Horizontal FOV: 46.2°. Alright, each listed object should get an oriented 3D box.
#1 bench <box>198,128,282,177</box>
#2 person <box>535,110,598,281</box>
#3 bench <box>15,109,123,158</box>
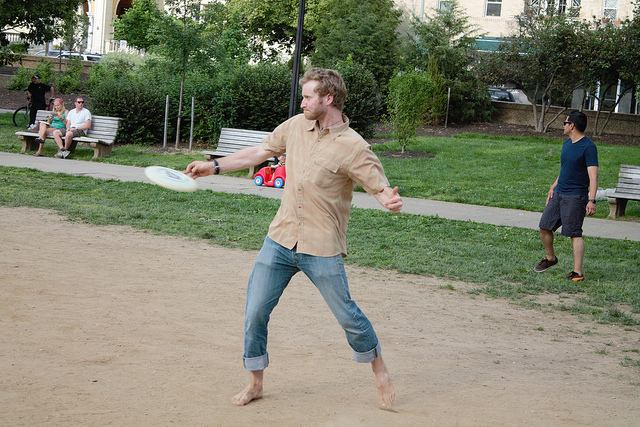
[{"bbox_3d":[-2.227,-1.844,21.623,1.063,1.075,2.664,-17,17,-39],"label":"bench"},{"bbox_3d":[4.306,-0.319,12.924,0.819,2.827,0.404,8,6,37],"label":"person"},{"bbox_3d":[-7.610,-2.401,22.811,3.266,1.185,1.177,9,17,26],"label":"bench"}]
